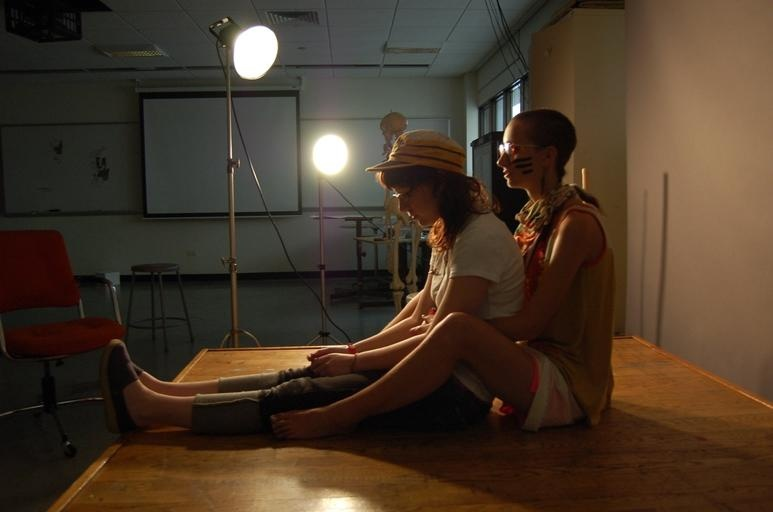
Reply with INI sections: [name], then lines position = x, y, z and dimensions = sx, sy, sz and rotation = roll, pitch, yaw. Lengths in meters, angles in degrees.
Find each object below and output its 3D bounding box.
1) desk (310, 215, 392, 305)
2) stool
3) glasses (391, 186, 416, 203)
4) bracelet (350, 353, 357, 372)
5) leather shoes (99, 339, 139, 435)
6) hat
[desk]
position = -0.442, -0.015, 7.833
dimensions = 1.104, 1.123, 1.154
rotation = 0, 8, 3
[stool]
position = -2.377, 0.520, 6.184
dimensions = 0.630, 0.919, 0.644
rotation = -2, -1, -41
[glasses]
position = 0.111, -0.321, 3.154
dimensions = 0.088, 0.099, 0.031
rotation = 6, 23, 24
[bracelet]
position = -0.175, 0.561, 3.121
dimensions = 0.018, 0.075, 0.042
rotation = 10, -7, -13
[leather shoes]
position = -1.366, 0.655, 3.119
dimensions = 0.172, 0.495, 0.170
rotation = 0, 7, 23
[hat]
position = 0.210, -0.523, 3.131
dimensions = 0.347, 0.183, 0.266
rotation = 5, -1, -1
